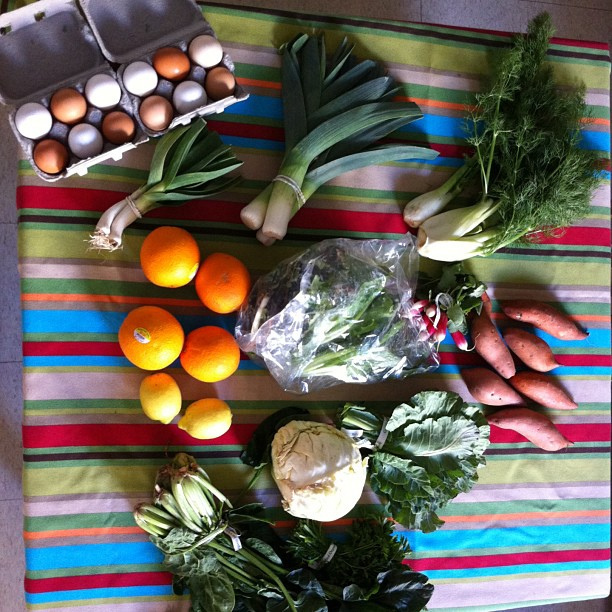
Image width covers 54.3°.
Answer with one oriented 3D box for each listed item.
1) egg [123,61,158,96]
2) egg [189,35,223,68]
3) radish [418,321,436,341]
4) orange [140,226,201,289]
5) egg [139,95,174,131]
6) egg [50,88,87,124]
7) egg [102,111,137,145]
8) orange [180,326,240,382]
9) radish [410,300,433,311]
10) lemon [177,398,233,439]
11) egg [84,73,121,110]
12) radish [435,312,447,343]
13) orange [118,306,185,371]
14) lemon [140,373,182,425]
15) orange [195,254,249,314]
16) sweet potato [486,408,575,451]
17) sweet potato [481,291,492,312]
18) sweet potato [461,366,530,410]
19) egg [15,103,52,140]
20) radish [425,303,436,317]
[{"bbox_3d":[-0.314,-0.429,1.134,0.056,0.056,0.044,6,-25,-32],"label":"egg"},{"bbox_3d":[-0.192,-0.482,1.142,0.061,0.050,0.039,-3,-21,-10],"label":"egg"},{"bbox_3d":[0.241,0.053,1.230,0.028,0.045,0.016,32,-18,-1],"label":"radish"},{"bbox_3d":[-0.251,-0.094,1.104,0.104,0.117,0.074,-4,-22,-9],"label":"orange"},{"bbox_3d":[-0.285,-0.367,1.137,0.060,0.063,0.043,-10,-21,7],"label":"egg"},{"bbox_3d":[-0.447,-0.376,1.129,0.064,0.064,0.035,-1,-23,-15],"label":"egg"},{"bbox_3d":[-0.353,-0.336,1.139,0.062,0.055,0.035,-2,-22,-14],"label":"egg"},{"bbox_3d":[-0.166,0.092,1.155,0.133,0.091,0.105,1,-23,9],"label":"orange"},{"bbox_3d":[0.232,-0.003,1.205,0.015,0.016,0.054,-9,13,41],"label":"radish"},{"bbox_3d":[-0.186,0.208,1.110,0.076,0.074,0.054,-18,-23,27],"label":"lemon"},{"bbox_3d":[-0.384,-0.403,1.135,0.064,0.057,0.043,-2,-22,-13],"label":"egg"},{"bbox_3d":[0.274,0.044,1.213,0.025,0.050,0.020,12,-8,-12],"label":"radish"},{"bbox_3d":[-0.286,0.056,1.092,0.101,0.123,0.085,-23,-26,36],"label":"orange"},{"bbox_3d":[-0.270,0.180,1.139,0.071,0.090,0.129,-6,-19,-4],"label":"lemon"},{"bbox_3d":[-0.149,-0.039,1.131,0.110,0.096,0.089,-4,-8,-1],"label":"orange"},{"bbox_3d":[0.485,0.265,1.305,0.192,0.066,0.061,26,-25,35],"label":"sweet potato"},{"bbox_3d":[0.389,-0.007,1.297,0.016,0.046,0.010,-26,0,-29],"label":"sweet potato"},{"bbox_3d":[0.369,0.172,1.312,0.153,0.152,0.080,5,-49,4],"label":"sweet potato"},{"bbox_3d":[-0.501,-0.338,1.113,0.079,0.059,0.042,-9,8,-14],"label":"egg"},{"bbox_3d":[0.252,0.011,1.203,0.014,0.026,0.013,31,-22,32],"label":"radish"}]
